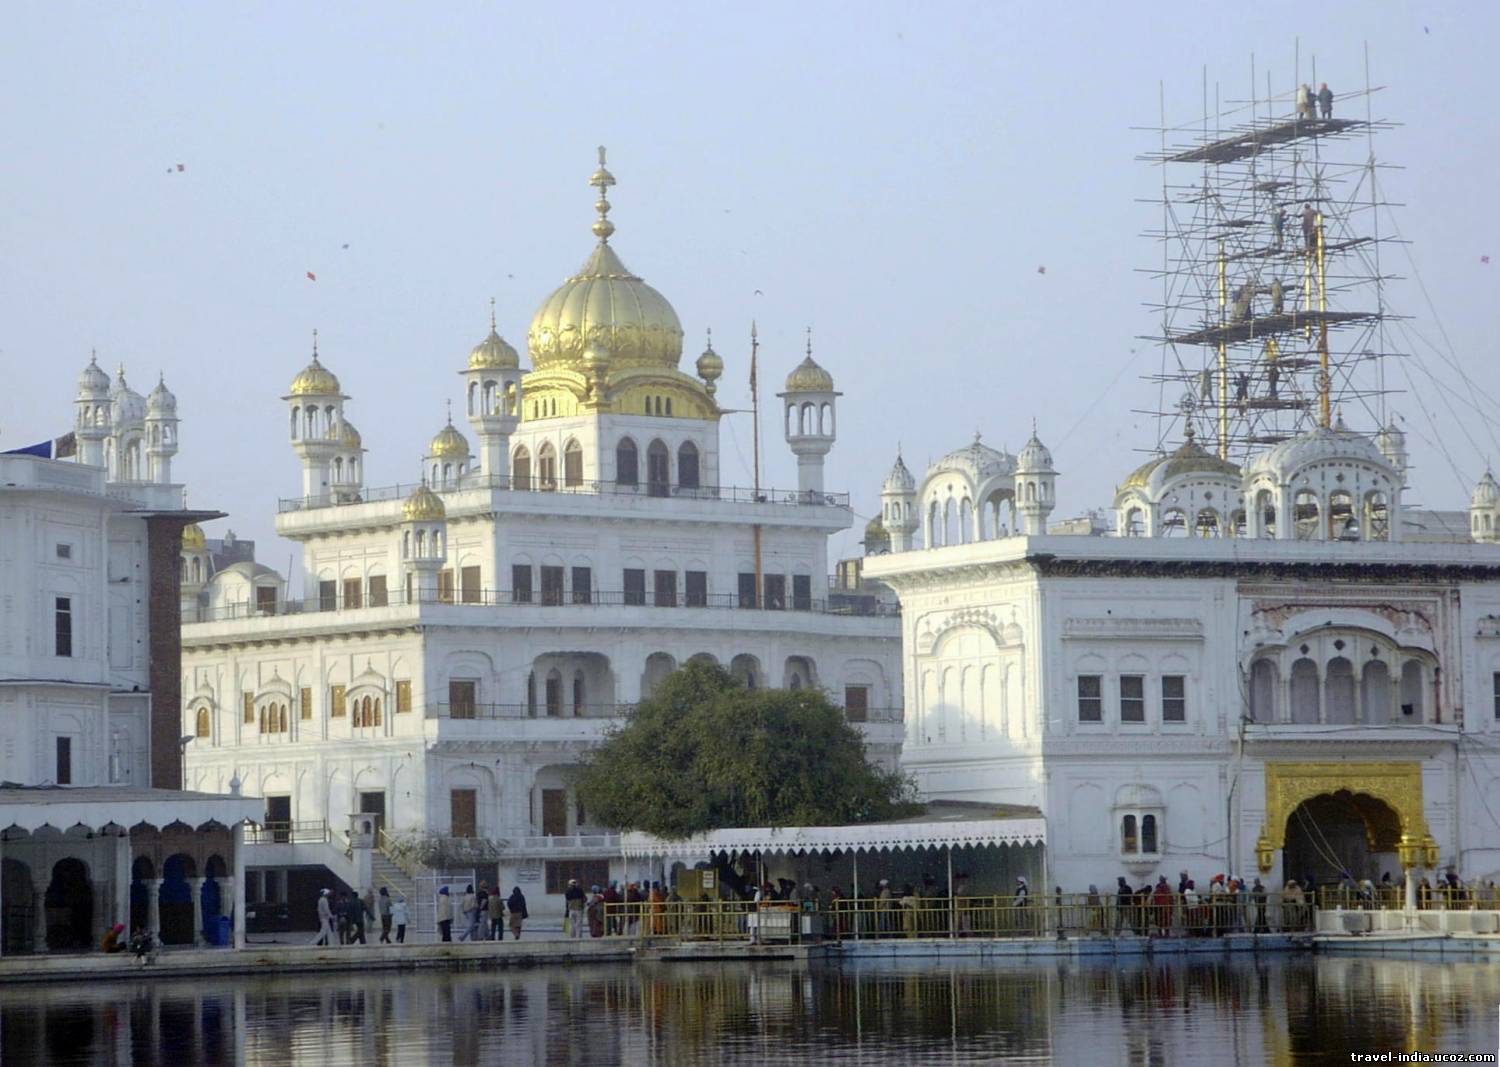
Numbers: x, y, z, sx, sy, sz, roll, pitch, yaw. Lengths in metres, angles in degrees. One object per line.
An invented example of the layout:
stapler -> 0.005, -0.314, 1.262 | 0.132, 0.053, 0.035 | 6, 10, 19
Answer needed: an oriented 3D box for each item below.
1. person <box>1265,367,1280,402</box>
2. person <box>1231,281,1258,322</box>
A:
person -> 17.414, -5.068, 153.899 | 0.340, 0.978, 0.774 | 0, -9, -3
person -> 16.202, -7.710, 151.882 | 0.629, 1.271, 1.340 | 4, -10, -26
